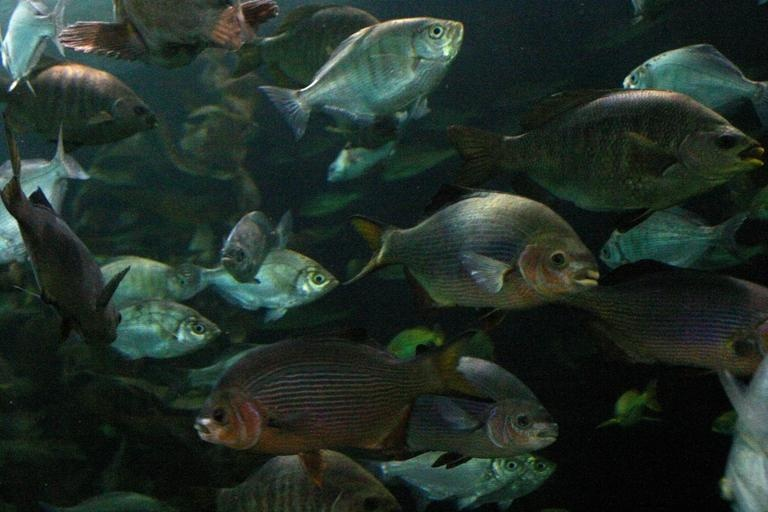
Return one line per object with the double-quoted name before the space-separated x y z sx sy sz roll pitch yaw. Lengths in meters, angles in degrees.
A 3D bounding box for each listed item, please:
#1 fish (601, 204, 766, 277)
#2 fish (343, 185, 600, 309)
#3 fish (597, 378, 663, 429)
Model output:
"fish" 1.041 -0.060 3.926 0.792 0.288 0.199 -2 0 -5
"fish" 0.302 -0.022 3.796 1.226 0.441 0.340 5 9 43
"fish" 1.015 0.625 4.127 0.151 0.155 0.421 0 12 42
